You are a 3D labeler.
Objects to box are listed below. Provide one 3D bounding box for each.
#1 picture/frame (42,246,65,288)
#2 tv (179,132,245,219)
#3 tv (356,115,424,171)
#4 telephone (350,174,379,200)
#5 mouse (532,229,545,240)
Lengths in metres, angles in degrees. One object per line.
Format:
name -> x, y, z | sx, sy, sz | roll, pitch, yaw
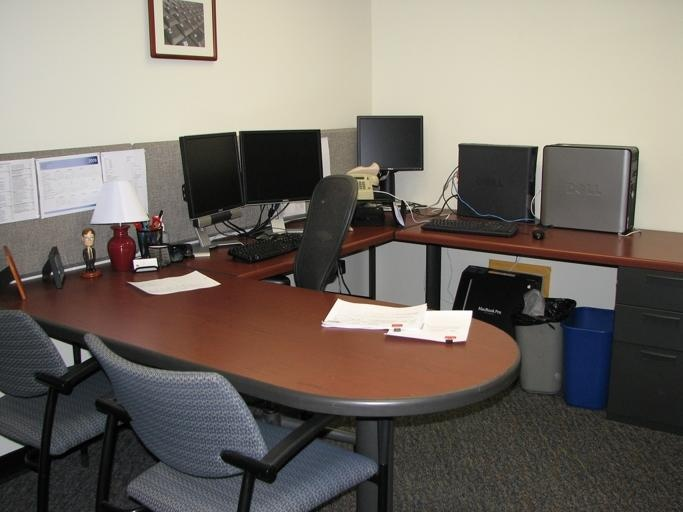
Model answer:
picture/frame -> -1.268, 0.046, 2.334 | 0.083, 0.160, 0.155 | 1, 7, -13
tv -> -0.694, -0.426, 2.780 | 0.056, 0.458, 0.390 | 3, 13, 38
tv -> 0.312, -0.775, 3.608 | 0.394, 0.334, 0.044 | 0, 14, 3
telephone -> 0.128, -0.424, 3.247 | 0.164, 0.152, 0.171 | 5, 19, 19
mouse -> 1.066, -0.128, 2.944 | 0.055, 0.035, 0.054 | -12, 16, -42
